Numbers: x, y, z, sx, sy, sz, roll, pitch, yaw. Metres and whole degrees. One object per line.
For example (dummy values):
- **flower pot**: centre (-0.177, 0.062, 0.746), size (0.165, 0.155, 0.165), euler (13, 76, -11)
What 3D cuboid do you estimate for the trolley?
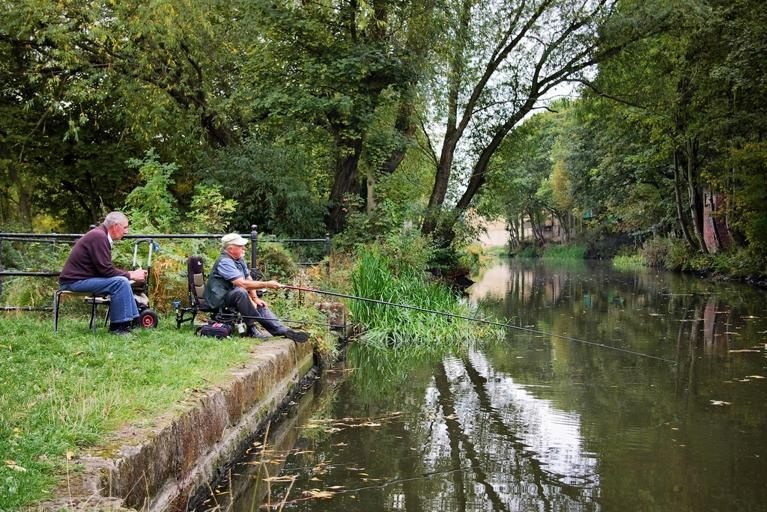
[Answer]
- **trolley**: centre (-4.332, 0.681, 12.488), size (1.140, 1.934, 0.927), euler (1, 0, -4)

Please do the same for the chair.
- **chair**: centre (-2.945, 0.702, 12.844), size (1.255, 1.380, 0.882), euler (6, 10, 3)

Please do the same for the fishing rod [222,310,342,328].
- **fishing rod**: centre (-1.908, 1.134, 13.138), size (2.653, 0.386, 0.239), euler (3, 36, -50)

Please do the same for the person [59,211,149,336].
- **person**: centre (-4.563, 0.344, 12.021), size (1.118, 2.068, 0.975), euler (0, 0, 7)

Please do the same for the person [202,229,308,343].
- **person**: centre (-2.324, 0.520, 12.594), size (1.486, 1.709, 0.679), euler (-1, 14, -5)

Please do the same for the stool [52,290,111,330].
- **stool**: centre (-4.929, 0.732, 12.126), size (0.975, 1.008, 0.822), euler (5, 7, -24)
